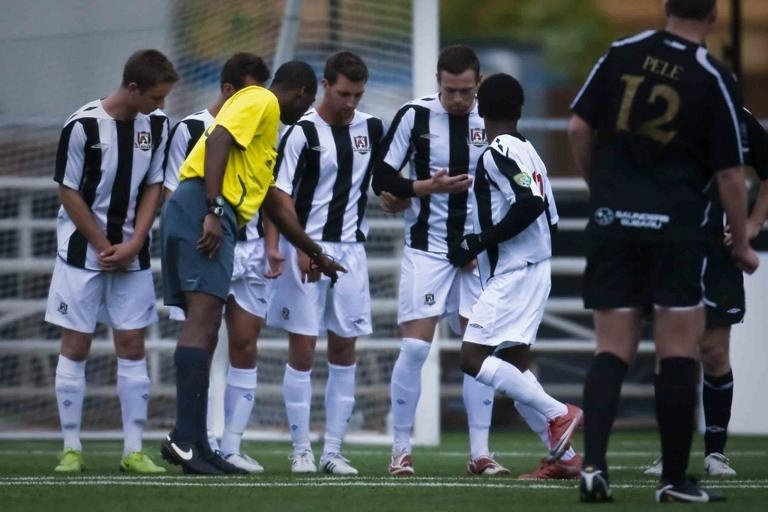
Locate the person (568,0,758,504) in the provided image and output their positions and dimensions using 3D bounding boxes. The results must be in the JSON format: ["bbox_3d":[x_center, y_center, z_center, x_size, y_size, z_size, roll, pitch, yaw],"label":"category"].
[{"bbox_3d":[1.837,-0.046,10.667,1.163,3.346,0.310,-1,-4,7],"label":"person"}]

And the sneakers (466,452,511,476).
[{"bbox_3d":[0.763,1.556,11.745,0.296,0.114,0.136,-5,-5,36],"label":"sneakers"}]

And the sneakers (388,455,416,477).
[{"bbox_3d":[0.120,1.526,11.691,0.196,0.156,0.329,0,-3,1],"label":"sneakers"}]

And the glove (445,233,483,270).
[{"bbox_3d":[0.600,-0.042,11.624,0.105,0.187,0.258,-19,-11,-48],"label":"glove"}]

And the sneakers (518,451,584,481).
[{"bbox_3d":[1.147,1.520,11.411,0.542,0.218,0.178,0,-4,-2],"label":"sneakers"}]

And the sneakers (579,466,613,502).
[{"bbox_3d":[1.391,1.517,10.508,0.121,0.132,0.325,1,1,15],"label":"sneakers"}]

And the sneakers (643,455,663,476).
[{"bbox_3d":[2.028,1.560,11.849,0.114,0.141,0.356,-2,-10,30],"label":"sneakers"}]

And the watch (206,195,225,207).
[{"bbox_3d":[-1.207,-0.387,11.251,0.108,0.062,0.099,-4,-2,-30],"label":"watch"}]

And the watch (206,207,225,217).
[{"bbox_3d":[-1.197,-0.317,11.262,0.091,0.094,0.061,13,-7,34],"label":"watch"}]

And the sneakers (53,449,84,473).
[{"bbox_3d":[-2.337,1.510,11.688,0.114,0.107,0.246,0,-4,4],"label":"sneakers"}]

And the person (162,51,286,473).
[{"bbox_3d":[-1.251,0.019,11.579,0.779,3.107,0.748,0,-4,-9],"label":"person"}]

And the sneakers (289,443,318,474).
[{"bbox_3d":[-0.614,1.517,11.882,0.193,0.187,0.482,-2,-6,-6],"label":"sneakers"}]

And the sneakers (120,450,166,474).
[{"bbox_3d":[-1.796,1.511,11.646,0.390,0.150,0.133,0,-3,26],"label":"sneakers"}]

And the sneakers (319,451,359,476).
[{"bbox_3d":[-0.301,1.537,11.746,0.355,0.147,0.121,1,1,30],"label":"sneakers"}]

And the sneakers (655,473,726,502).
[{"bbox_3d":[2.025,1.538,10.563,0.475,0.187,0.168,0,-6,6],"label":"sneakers"}]

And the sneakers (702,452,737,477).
[{"bbox_3d":[2.508,1.557,11.873,0.126,0.095,0.247,-2,-3,-12],"label":"sneakers"}]
